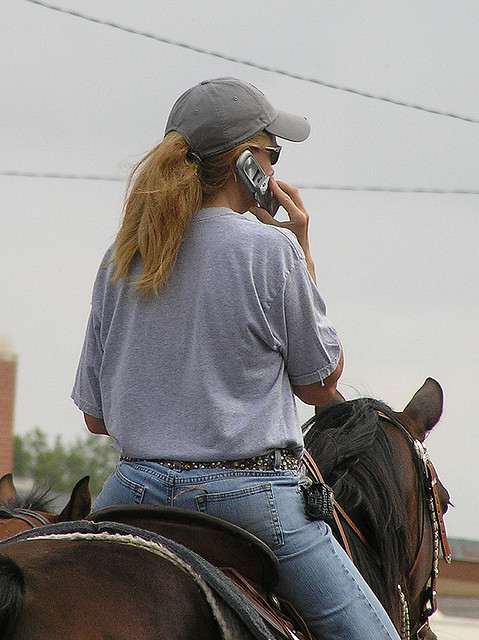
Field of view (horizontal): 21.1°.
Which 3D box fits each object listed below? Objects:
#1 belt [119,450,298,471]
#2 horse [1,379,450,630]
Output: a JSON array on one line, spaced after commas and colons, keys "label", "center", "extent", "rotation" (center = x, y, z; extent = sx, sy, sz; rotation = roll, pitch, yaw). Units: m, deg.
[{"label": "belt", "center": [-0.100, 0.473, 4.410], "extent": [0.600, 0.071, 0.142], "rotation": [0, -7, 1]}, {"label": "horse", "center": [0.015, 0.688, 4.609], "extent": [0.662, 0.968, 2.097], "rotation": [-5, -8, 33]}]
